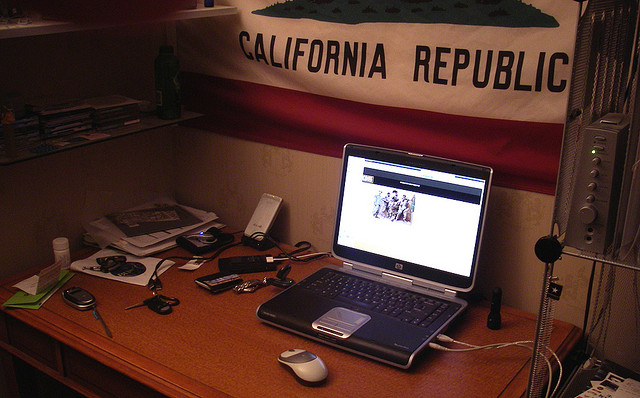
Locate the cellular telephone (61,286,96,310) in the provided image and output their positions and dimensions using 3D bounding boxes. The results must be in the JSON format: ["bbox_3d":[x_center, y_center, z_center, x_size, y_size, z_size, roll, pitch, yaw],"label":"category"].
[{"bbox_3d":[-0.853,0.348,1.661,0.136,0.035,0.080,20,24,26],"label":"cellular telephone"}]

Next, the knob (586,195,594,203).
[{"bbox_3d":[0.668,-0.001,1.162,0.016,0.020,0.005,16,13,25],"label":"knob"}]

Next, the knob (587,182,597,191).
[{"bbox_3d":[0.671,-0.032,1.159,0.014,0.012,0.022,19,45,19],"label":"knob"}]

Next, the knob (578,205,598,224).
[{"bbox_3d":[0.662,0.038,1.158,0.048,0.047,0.029,4,4,43],"label":"knob"}]

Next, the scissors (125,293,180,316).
[{"bbox_3d":[-0.585,0.368,1.650,0.165,0.043,0.089,11,12,10],"label":"scissors"}]

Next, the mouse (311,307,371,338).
[{"bbox_3d":[0.067,0.397,1.520,0.151,0.048,0.126,14,13,24],"label":"mouse"}]

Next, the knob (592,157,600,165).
[{"bbox_3d":[0.677,-0.093,1.150,0.013,0.017,0.008,47,16,27],"label":"knob"}]
